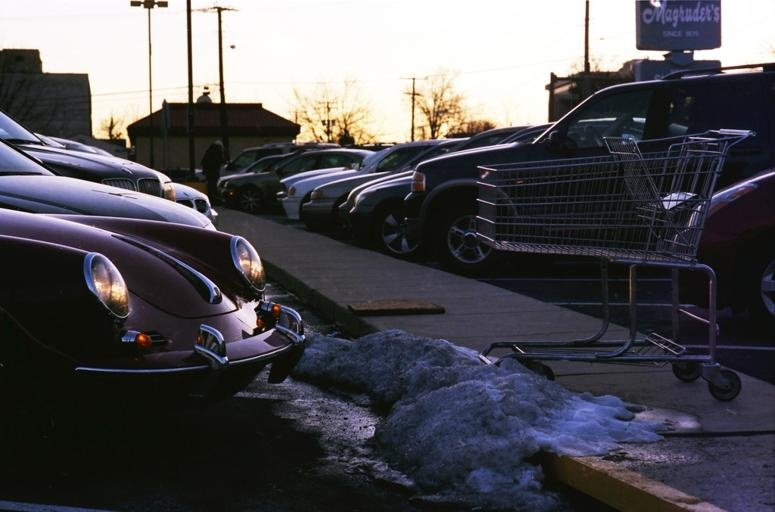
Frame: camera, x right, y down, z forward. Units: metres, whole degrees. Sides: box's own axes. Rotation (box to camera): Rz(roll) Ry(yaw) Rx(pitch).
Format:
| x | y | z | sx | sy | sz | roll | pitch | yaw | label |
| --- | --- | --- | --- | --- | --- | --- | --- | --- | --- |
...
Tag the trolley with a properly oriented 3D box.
| x | y | z | sx | sy | sz | roll | pitch | yaw | label |
| --- | --- | --- | --- | --- | --- | --- | --- | --- | --- |
| 1.591 | 0.030 | 6.933 | 1.798 | 1.863 | 1.078 | -2 | 12 | 4 | trolley |
